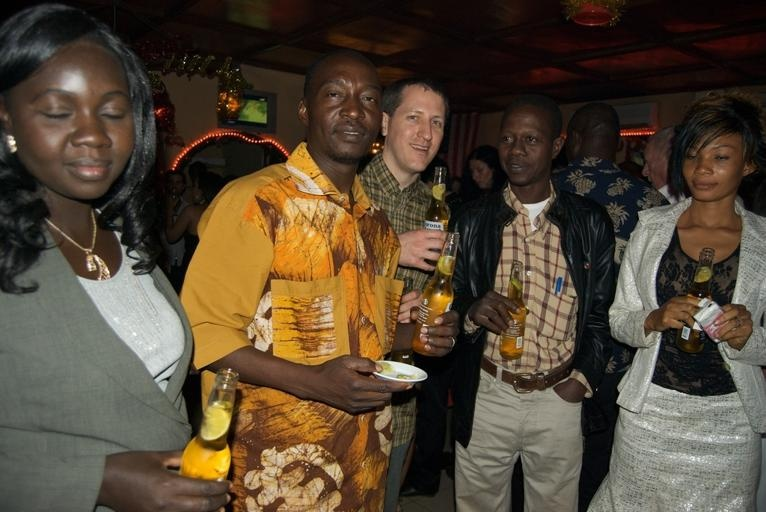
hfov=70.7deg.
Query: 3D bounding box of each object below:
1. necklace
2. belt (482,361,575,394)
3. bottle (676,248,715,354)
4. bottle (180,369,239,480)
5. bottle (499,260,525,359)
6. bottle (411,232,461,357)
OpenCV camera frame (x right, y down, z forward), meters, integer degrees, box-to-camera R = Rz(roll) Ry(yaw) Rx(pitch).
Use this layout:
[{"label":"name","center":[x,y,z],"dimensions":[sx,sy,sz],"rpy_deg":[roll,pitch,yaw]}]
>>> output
[{"label":"necklace","center":[-1.084,-0.033,1.897],"dimensions":[0.023,0.336,0.080],"rpy_deg":[1,47,37]},{"label":"belt","center":[0.877,0.740,3.344],"dimensions":[0.536,0.164,0.128],"rpy_deg":[4,11,10]},{"label":"bottle","center":[1.658,0.231,2.838],"dimensions":[0.125,0.557,0.319],"rpy_deg":[10,14,31]},{"label":"bottle","center":[-0.567,0.542,1.745],"dimensions":[0.179,0.364,0.162],"rpy_deg":[-5,14,-34]},{"label":"bottle","center":[0.763,0.331,3.116],"dimensions":[0.127,0.603,0.260],"rpy_deg":[6,12,15]},{"label":"bottle","center":[0.252,0.173,2.620],"dimensions":[0.170,0.582,0.388],"rpy_deg":[5,12,13]}]
